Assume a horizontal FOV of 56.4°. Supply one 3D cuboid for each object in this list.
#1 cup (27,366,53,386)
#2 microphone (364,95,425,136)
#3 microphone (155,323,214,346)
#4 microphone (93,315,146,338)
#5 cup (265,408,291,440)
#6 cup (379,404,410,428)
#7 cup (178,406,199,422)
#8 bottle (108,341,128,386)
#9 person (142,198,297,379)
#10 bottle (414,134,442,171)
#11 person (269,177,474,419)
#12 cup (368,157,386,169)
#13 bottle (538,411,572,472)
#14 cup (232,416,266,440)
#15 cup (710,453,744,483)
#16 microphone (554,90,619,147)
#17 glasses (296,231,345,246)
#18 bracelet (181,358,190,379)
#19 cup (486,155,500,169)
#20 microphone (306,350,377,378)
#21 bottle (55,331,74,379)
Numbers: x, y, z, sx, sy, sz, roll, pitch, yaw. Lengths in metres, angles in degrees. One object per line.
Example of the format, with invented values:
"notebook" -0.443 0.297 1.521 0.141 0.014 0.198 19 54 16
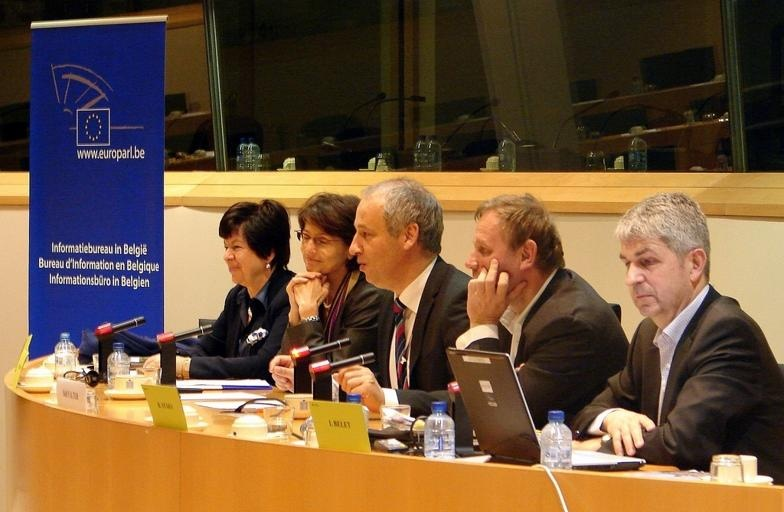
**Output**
"cup" -1.628 0.550 3.391 0.089 0.064 0.092 0 -7 0
"microphone" 0.030 -1.076 5.379 0.472 0.289 0.032 -5 -3 26
"microphone" -1.163 0.438 4.129 0.365 0.101 0.100 -15 0 -16
"microphone" -1.494 0.376 4.003 0.202 0.064 0.066 -17 44 -12
"cup" -0.426 0.619 2.713 0.093 0.107 0.097 1 -4 0
"cup" 0.013 0.600 2.748 0.079 0.067 0.089 1 -11 -4
"cup" -0.780 0.605 2.826 0.056 0.044 0.057 1 -4 0
"bottle" -1.253 0.498 3.368 0.089 0.202 0.157 -2 -3 -27
"person" -0.903 0.171 4.199 0.955 1.054 0.727 3 -4 -19
"bottle" 0.265 -0.761 5.283 0.238 0.342 0.120 2 6 28
"person" -0.095 0.153 3.660 0.941 1.266 1.140 3 -3 -15
"cup" -0.112 -0.692 5.442 0.112 0.113 0.086 0 -6 -1
"bottle" 0.526 0.590 2.377 0.101 0.181 0.082 -3 -3 10
"cup" -0.523 0.621 2.679 0.085 0.055 0.088 1 -9 0
"cup" 1.031 0.643 2.252 0.083 0.080 0.082 1 -8 0
"microphone" 1.230 -0.917 4.871 0.367 0.234 0.054 -6 -4 39
"glasses" -0.424 -0.121 3.988 0.176 0.054 0.176 8 -1 -26
"bracelet" -1.081 0.592 3.848 0.043 0.067 0.087 3 18 1
"cup" 0.703 -0.657 5.116 0.110 0.115 0.082 0 -2 1
"microphone" -0.199 0.403 2.793 0.228 0.069 0.252 -3 -4 -9
"bottle" -1.627 0.480 3.642 0.104 0.193 0.477 -2 -4 -25
